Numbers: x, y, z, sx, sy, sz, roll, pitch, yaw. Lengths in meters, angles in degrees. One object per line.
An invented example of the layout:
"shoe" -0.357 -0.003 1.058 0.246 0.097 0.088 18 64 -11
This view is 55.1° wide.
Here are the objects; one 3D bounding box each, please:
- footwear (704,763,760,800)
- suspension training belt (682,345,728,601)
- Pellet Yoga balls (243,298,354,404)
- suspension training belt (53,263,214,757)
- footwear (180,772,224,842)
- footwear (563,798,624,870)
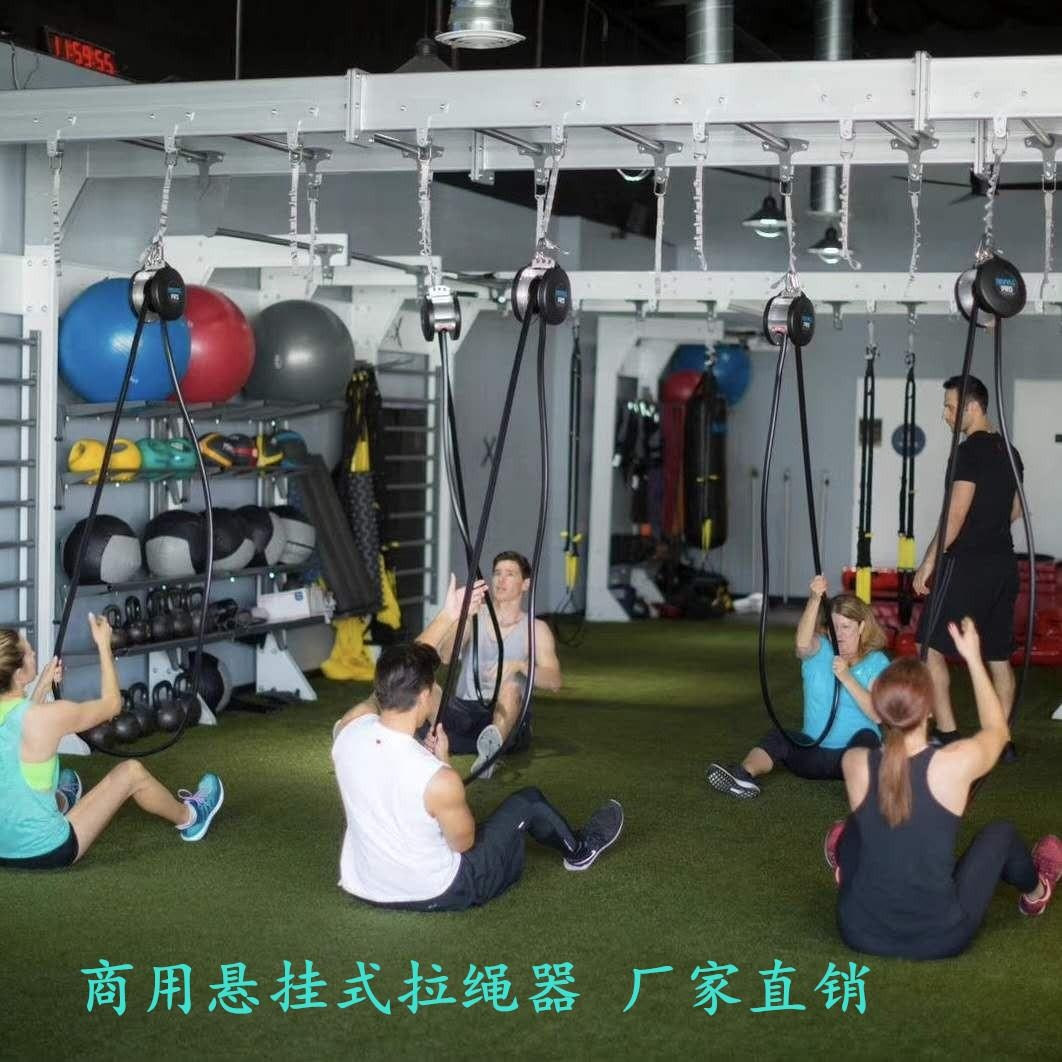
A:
"footwear" 0.881 1.107 4.508 0.249 0.126 0.130 24 38 15
"suspension training belt" 1.736 -0.580 10.189 0.183 2.557 0.651 4 4 15
"Pellet Yoga balls" -1.469 -1.075 6.357 0.381 0.717 0.608 8 5 31
"suspension training belt" -1.975 -0.114 5.007 0.474 2.637 0.565 -1 8 -38
"footwear" -1.292 1.073 4.046 0.098 0.140 0.311 -32 26 27
"footwear" 0.224 1.087 3.704 0.101 0.129 0.314 13 44 29
